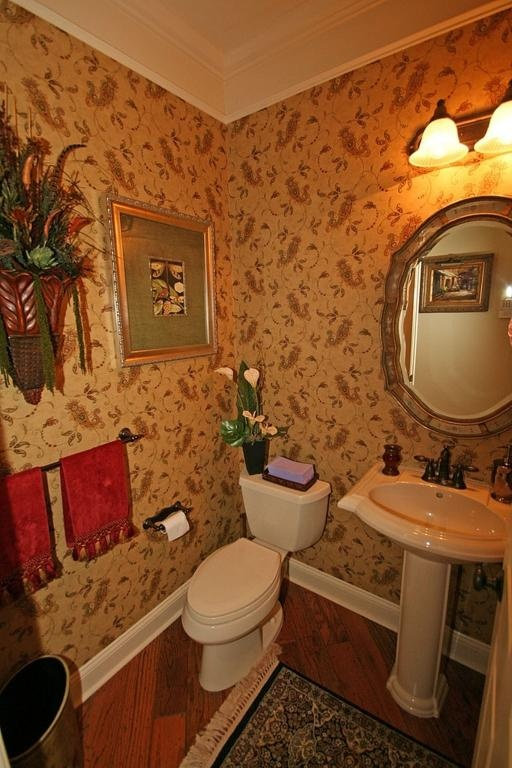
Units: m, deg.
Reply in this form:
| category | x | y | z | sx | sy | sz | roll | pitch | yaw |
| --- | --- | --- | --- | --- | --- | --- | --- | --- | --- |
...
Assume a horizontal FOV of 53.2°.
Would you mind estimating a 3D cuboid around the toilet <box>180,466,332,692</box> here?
| category | x | y | z | sx | sy | sz | roll | pitch | yaw |
| --- | --- | --- | --- | --- | --- | --- | --- | --- | --- |
| toilet | -0.029 | 0.759 | 2.044 | 0.364 | 0.671 | 0.673 | 14 | 25 | 28 |

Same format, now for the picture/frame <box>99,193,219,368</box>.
| category | x | y | z | sx | sy | sz | roll | pitch | yaw |
| --- | --- | --- | --- | --- | --- | --- | --- | --- | --- |
| picture/frame | -0.380 | -0.405 | 1.943 | 0.045 | 0.665 | 0.635 | 4 | 12 | 28 |

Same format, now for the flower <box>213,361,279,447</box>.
| category | x | y | z | sx | sy | sz | roll | pitch | yaw |
| --- | --- | --- | --- | --- | --- | --- | --- | --- | --- |
| flower | -0.020 | 0.091 | 2.320 | 0.314 | 0.396 | 0.312 | 2 | 10 | 21 |

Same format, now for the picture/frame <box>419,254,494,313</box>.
| category | x | y | z | sx | sy | sz | roll | pitch | yaw |
| --- | --- | --- | --- | --- | --- | --- | --- | --- | --- |
| picture/frame | 0.694 | -0.350 | 1.745 | 0.181 | 0.181 | 0.016 | 12 | 14 | 36 |

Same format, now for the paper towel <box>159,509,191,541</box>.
| category | x | y | z | sx | sy | sz | roll | pitch | yaw |
| --- | --- | --- | --- | --- | --- | --- | --- | --- | --- |
| paper towel | -0.312 | 0.556 | 2.004 | 0.099 | 0.109 | 0.118 | -12 | 6 | 39 |

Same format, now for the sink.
| category | x | y | z | sx | sy | sz | roll | pitch | yaw |
| --- | --- | --- | --- | --- | --- | --- | --- | --- | --- |
| sink | 0.590 | 0.426 | 1.742 | 0.378 | 0.144 | 0.356 | 11 | 22 | 30 |

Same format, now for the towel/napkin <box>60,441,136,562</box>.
| category | x | y | z | sx | sy | sz | roll | pitch | yaw |
| --- | --- | --- | --- | --- | --- | --- | --- | --- | --- |
| towel/napkin | -0.557 | 0.422 | 1.797 | 0.060 | 0.417 | 0.255 | 5 | 12 | 38 |

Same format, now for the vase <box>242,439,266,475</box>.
| category | x | y | z | sx | sy | sz | roll | pitch | yaw |
| --- | --- | --- | --- | --- | --- | --- | --- | --- | --- |
| vase | -0.005 | 0.318 | 2.254 | 0.135 | 0.186 | 0.132 | 0 | -3 | -1 |
